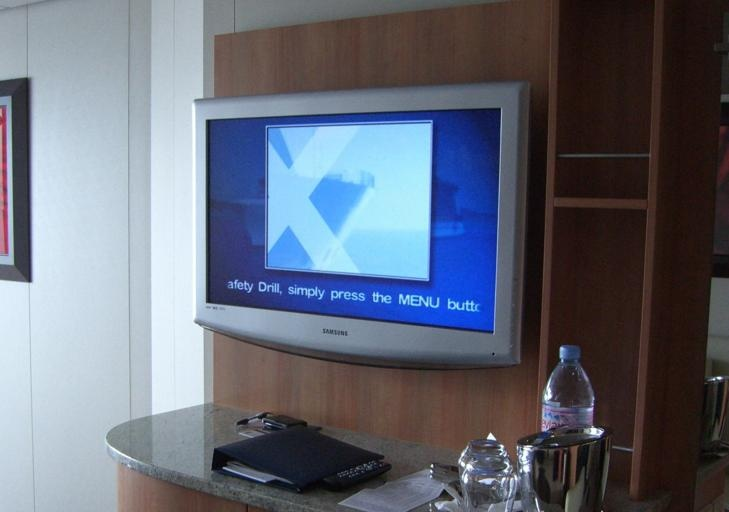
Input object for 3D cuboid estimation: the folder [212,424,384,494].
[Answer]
[{"bbox_3d":[-0.235,0.724,2.240,0.456,0.072,0.599,-1,9,-37],"label":"folder"}]
